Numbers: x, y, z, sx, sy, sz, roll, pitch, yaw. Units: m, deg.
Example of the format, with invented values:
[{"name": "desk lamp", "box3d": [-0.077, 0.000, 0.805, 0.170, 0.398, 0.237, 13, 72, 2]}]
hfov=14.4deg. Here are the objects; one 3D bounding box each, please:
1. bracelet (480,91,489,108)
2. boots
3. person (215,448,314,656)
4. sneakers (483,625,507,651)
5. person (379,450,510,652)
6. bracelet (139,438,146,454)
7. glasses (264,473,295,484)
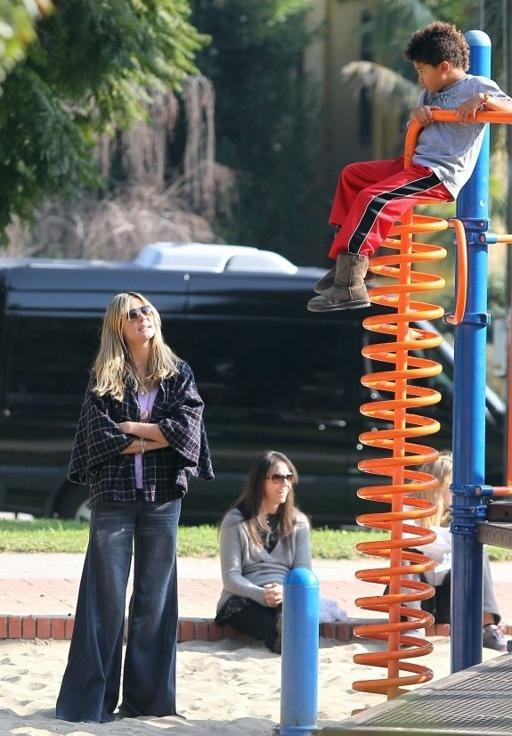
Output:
[{"name": "bracelet", "box3d": [1.157, -1.370, 10.421, 0.038, 0.062, 0.020, 6, -3, 45]}, {"name": "boots", "box3d": [0.474, -0.453, 10.598, 0.368, 0.419, 0.193, 0, 4, 11]}, {"name": "person", "box3d": [0.020, 1.117, 12.412, 0.564, 0.805, 0.530, 2, -2, 18]}, {"name": "sneakers", "box3d": [1.448, 1.660, 12.586, 0.087, 0.102, 0.218, 3, -7, -20]}, {"name": "person", "box3d": [1.264, 1.130, 12.645, 0.585, 1.208, 2.297, 2, -2, 5]}, {"name": "bracelet", "box3d": [-0.600, 0.414, 10.919, 0.039, 0.063, 0.023, 3, -2, 1]}, {"name": "glasses", "box3d": [0.154, 0.662, 12.357, 0.177, 0.051, 0.055, 4, -2, -28]}]
